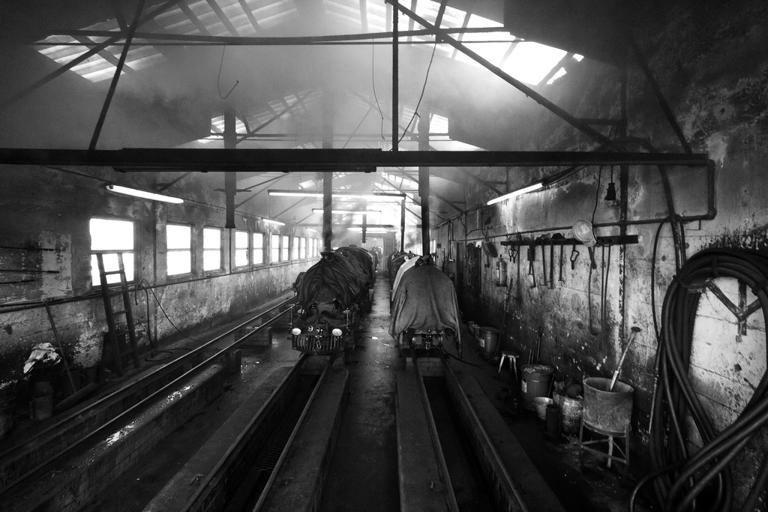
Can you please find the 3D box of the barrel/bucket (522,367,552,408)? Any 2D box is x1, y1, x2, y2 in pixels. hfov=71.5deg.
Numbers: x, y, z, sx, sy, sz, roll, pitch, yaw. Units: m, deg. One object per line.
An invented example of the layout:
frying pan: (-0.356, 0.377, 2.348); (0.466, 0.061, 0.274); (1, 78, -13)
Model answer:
barrel/bucket: (3.123, 2.686, 10.979); (0.647, 0.775, 0.711); (3, -7, 0)

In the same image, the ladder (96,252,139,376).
ladder: (-6.116, 1.258, 12.306); (0.759, 2.697, 0.951); (0, 1, 10)

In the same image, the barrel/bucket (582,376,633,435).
barrel/bucket: (4.188, 2.791, 9.923); (0.752, 0.870, 0.777); (1, 8, 0)
